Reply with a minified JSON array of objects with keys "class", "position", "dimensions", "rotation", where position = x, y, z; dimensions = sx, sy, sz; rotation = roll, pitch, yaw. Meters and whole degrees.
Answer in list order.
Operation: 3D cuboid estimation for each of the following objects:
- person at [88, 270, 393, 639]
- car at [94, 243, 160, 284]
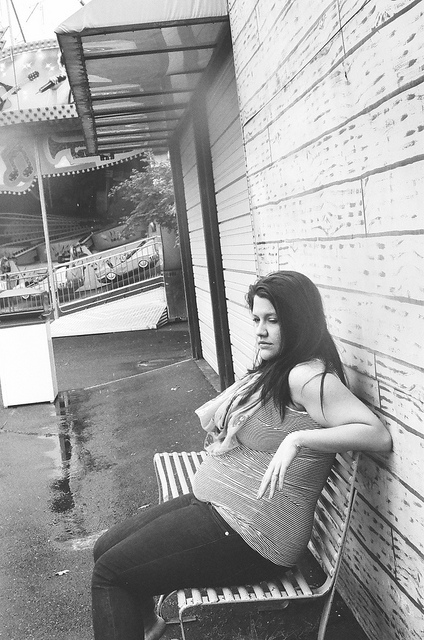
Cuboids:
[{"class":"person","position":[0.046,0.477,2.181],"dimensions":[1.059,2.007,1.218],"rotation":[5,0,8]},{"class":"car","position":[-3.137,-1.997,16.130],"dimensions":[2.214,0.809,1.314],"rotation":[-20,23,9]}]
